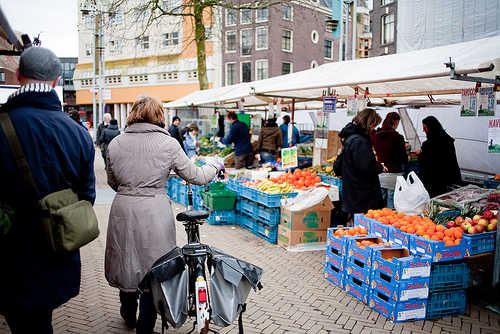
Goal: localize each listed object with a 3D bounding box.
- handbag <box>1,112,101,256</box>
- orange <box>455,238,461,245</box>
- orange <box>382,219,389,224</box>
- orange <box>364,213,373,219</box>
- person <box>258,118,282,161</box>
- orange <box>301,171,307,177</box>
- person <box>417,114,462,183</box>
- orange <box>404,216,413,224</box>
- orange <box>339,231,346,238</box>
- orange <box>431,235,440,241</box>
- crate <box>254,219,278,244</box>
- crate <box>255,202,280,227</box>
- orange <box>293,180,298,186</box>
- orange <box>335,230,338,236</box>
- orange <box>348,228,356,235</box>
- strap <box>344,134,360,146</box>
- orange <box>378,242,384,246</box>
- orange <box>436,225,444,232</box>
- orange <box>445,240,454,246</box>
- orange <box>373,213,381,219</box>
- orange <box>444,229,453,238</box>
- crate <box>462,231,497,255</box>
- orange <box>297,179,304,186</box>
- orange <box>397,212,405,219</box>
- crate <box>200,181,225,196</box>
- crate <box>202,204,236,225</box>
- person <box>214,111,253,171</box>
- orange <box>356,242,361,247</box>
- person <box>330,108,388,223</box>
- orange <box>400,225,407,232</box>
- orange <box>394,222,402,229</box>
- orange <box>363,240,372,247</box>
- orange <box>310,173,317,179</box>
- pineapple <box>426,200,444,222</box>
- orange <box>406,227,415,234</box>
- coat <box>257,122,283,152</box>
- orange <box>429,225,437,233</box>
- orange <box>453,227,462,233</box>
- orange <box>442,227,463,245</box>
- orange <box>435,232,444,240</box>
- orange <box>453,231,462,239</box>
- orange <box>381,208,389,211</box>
[{"bbox_3d":[-2.010,0.177,4.678,0.847,1.397,0.345,2,12,6],"label":"handbag"},{"bbox_3d":[2.850,1.024,6.415,0.058,0.084,0.060,7,21,-42],"label":"orange"},{"bbox_3d":[2.093,0.846,7.218,0.080,0.068,0.068,39,18,-6],"label":"orange"},{"bbox_3d":[1.920,0.790,7.515,0.068,0.074,0.070,-4,0,-1],"label":"orange"},{"bbox_3d":[0.553,-0.706,12.733,0.643,1.162,0.424,1,12,1],"label":"person"},{"bbox_3d":[1.132,0.156,9.739,0.089,0.091,0.090,39,-3,16],"label":"orange"},{"bbox_3d":[3.858,-0.298,9.491,0.821,1.424,0.552,-2,29,30],"label":"person"},{"bbox_3d":[2.416,0.800,7.109,0.105,0.095,0.093,22,-34,-5],"label":"orange"},{"bbox_3d":[1.436,1.051,7.249,0.088,0.082,0.116,1,13,4],"label":"orange"},{"bbox_3d":[2.565,0.987,6.462,0.074,0.098,0.078,-4,2,1],"label":"orange"},{"bbox_3d":[0.325,1.291,9.306,0.269,0.159,0.460,-3,15,-28],"label":"crate"},{"bbox_3d":[0.349,0.933,9.221,0.291,0.173,0.504,-1,12,-20],"label":"crate"},{"bbox_3d":[0.923,0.339,9.522,0.085,0.061,0.104,-5,6,-13],"label":"orange"},{"bbox_3d":[1.359,1.037,7.339,0.066,0.088,0.070,-4,2,5],"label":"orange"},{"bbox_3d":[1.588,1.007,7.259,0.121,0.064,0.160,3,13,10],"label":"orange"},{"bbox_3d":[1.734,-0.447,7.957,0.154,0.170,0.159,12,3,8],"label":"strap"},{"bbox_3d":[1.895,1.120,6.739,0.045,0.059,0.047,-8,4,-15],"label":"orange"},{"bbox_3d":[2.716,0.875,6.650,0.077,0.085,0.080,-5,-1,-23],"label":"orange"},{"bbox_3d":[2.721,1.041,6.359,0.081,0.075,0.072,-2,-24,-9],"label":"orange"},{"bbox_3d":[2.032,0.784,7.428,0.086,0.079,0.075,-5,2,-14],"label":"orange"},{"bbox_3d":[2.783,0.932,6.547,0.083,0.088,0.085,-3,3,-20],"label":"orange"},{"bbox_3d":[3.256,1.061,6.690,0.259,0.161,0.452,-2,3,-1],"label":"crate"},{"bbox_3d":[1.033,0.310,9.498,0.116,0.105,0.102,-33,18,24],"label":"orange"},{"bbox_3d":[2.364,0.750,7.317,0.089,0.095,0.090,14,39,44],"label":"orange"},{"bbox_3d":[-0.805,0.428,10.545,0.340,0.320,0.468,-2,3,-15],"label":"crate"},{"bbox_3d":[-0.612,1.031,9.986,0.637,0.390,1.043,1,5,-13],"label":"crate"},{"bbox_3d":[-0.393,-0.515,13.281,0.865,2.075,0.849,-17,24,-25],"label":"person"},{"bbox_3d":[1.610,1.146,6.902,0.049,0.062,0.049,8,-20,-37],"label":"orange"},{"bbox_3d":[1.888,-0.093,7.995,0.853,1.758,0.446,3,12,13],"label":"person"},{"bbox_3d":[2.271,0.908,6.881,0.068,0.074,0.071,-1,-2,-12],"label":"orange"},{"bbox_3d":[2.218,0.876,6.992,0.069,0.075,0.082,-16,-12,42],"label":"orange"},{"bbox_3d":[1.719,1.117,6.840,0.066,0.071,0.066,-9,12,-39],"label":"orange"},{"bbox_3d":[1.315,0.191,9.699,0.119,0.095,0.205,3,13,10],"label":"orange"},{"bbox_3d":[2.899,0.692,7.302,0.231,0.310,0.232,5,12,0],"label":"pineapple"},{"bbox_3d":[2.331,0.920,6.771,0.075,0.081,0.078,-1,-3,11],"label":"orange"},{"bbox_3d":[0.560,-0.785,12.859,0.691,0.869,0.493,8,10,11],"label":"coat"},{"bbox_3d":[2.616,0.881,6.682,0.076,0.094,0.077,-33,-1,21],"label":"orange"},{"bbox_3d":[2.907,0.874,6.553,0.074,0.067,0.064,-11,36,-25],"label":"orange"},{"bbox_3d":[2.811,0.951,6.493,0.221,0.100,0.233,0,11,25],"label":"orange"},{"bbox_3d":[2.652,0.969,6.552,0.085,0.093,0.105,14,-12,-7],"label":"orange"},{"bbox_3d":[2.881,0.944,6.469,0.102,0.090,0.085,-32,41,-32],"label":"orange"},{"bbox_3d":[2.197,0.698,7.613,0.063,0.049,0.082,-1,1,10],"label":"orange"}]
